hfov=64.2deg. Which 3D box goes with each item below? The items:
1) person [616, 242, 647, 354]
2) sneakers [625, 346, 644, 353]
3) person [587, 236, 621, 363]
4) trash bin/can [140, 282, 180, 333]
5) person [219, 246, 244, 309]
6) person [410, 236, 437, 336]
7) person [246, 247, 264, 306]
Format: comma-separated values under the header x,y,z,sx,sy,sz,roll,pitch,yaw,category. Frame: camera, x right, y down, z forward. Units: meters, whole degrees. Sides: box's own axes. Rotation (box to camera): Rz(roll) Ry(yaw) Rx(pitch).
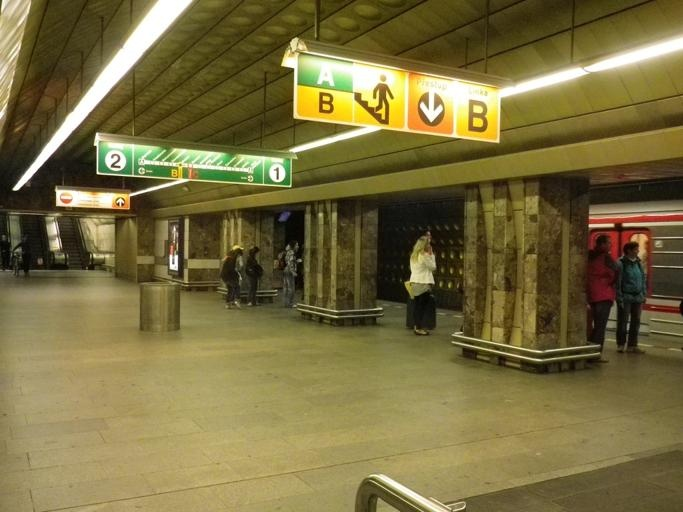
x,y,z,sx,sy,sz,roll,pitch,yaw,category
5.002,0.729,9.482,0.686,1.911,0.388,-2,2,-42,person
5.143,1.633,9.537,0.266,0.109,0.089,-4,3,-4,sneakers
4.262,0.691,8.973,0.569,2.031,0.374,-2,2,-41,person
-3.628,1.047,10.948,0.942,1.024,0.918,1,0,-5,trash bin/can
-2.965,0.595,14.833,0.526,1.686,0.875,-1,2,-11,person
1.690,0.623,11.230,0.506,2.004,0.807,0,1,8,person
-2.516,0.593,15.837,0.472,1.683,0.933,-1,2,-9,person
